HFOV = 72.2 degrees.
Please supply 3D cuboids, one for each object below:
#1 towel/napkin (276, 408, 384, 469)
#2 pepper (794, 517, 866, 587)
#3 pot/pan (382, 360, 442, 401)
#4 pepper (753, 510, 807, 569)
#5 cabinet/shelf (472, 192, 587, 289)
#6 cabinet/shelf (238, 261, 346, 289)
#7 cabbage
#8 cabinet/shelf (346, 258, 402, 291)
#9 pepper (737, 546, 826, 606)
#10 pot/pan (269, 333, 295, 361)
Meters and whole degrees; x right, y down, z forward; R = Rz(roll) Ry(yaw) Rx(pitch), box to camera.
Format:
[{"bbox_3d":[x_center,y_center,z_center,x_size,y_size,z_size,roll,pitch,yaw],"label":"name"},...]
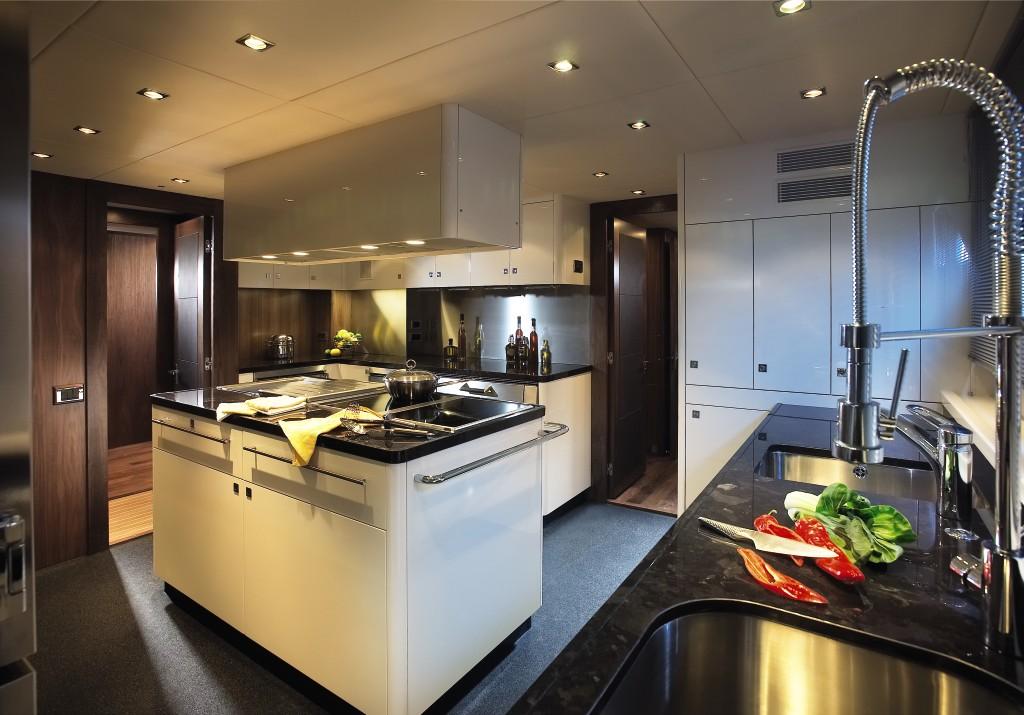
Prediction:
[{"bbox_3d":[-0.826,0.320,3.172,0.296,0.122,0.300,7,7,38],"label":"towel/napkin"},{"bbox_3d":[0.968,0.591,2.149,0.106,0.048,0.199,-27,30,-4],"label":"pepper"},{"bbox_3d":[-0.523,0.138,3.709,0.249,0.167,0.222,0,-2,-1],"label":"pot/pan"},{"bbox_3d":[0.875,0.571,2.279,0.080,0.054,0.145,-40,42,-22],"label":"pepper"},{"bbox_3d":[-0.117,-0.821,5.221,0.853,0.596,0.461,-6,12,-33],"label":"cabinet/shelf"},{"bbox_3d":[-1.877,-0.697,6.049,0.172,0.297,1.111,9,15,32],"label":"cabinet/shelf"},{"bbox_3d":[1.051,0.515,2.256,0.227,0.180,0.405,-13,21,-29],"label":"cabbage"},{"bbox_3d":[-1.162,-0.704,6.079,0.480,0.260,0.204,1,2,23],"label":"cabinet/shelf"},{"bbox_3d":[0.782,0.643,2.087,0.082,0.042,0.249,-12,11,-24],"label":"pepper"},{"bbox_3d":[-1.977,-0.086,6.219,0.206,0.249,0.259,0,0,22],"label":"pot/pan"}]
